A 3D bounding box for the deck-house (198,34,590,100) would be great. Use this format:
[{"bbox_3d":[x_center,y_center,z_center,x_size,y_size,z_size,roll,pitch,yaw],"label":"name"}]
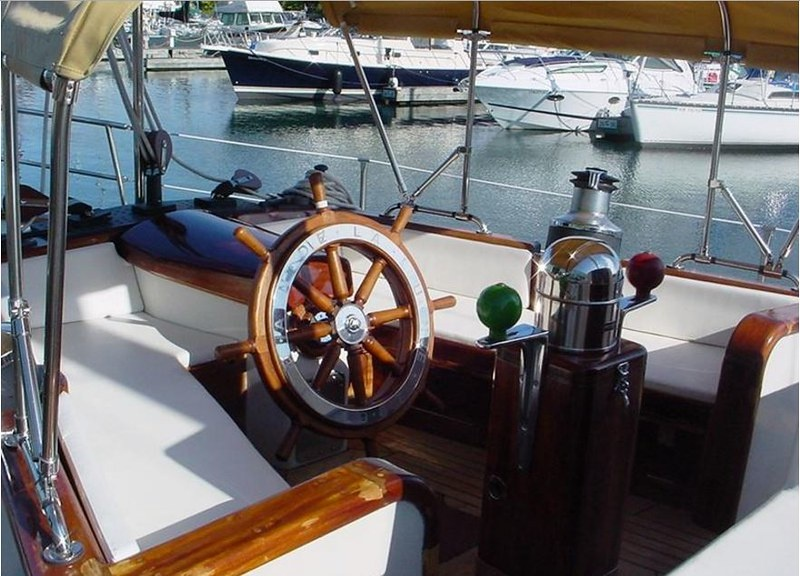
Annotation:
[{"bbox_3d":[0.082,-6.683,18.185,10.450,2.666,2.387,-2,22,-8],"label":"deck-house"}]
